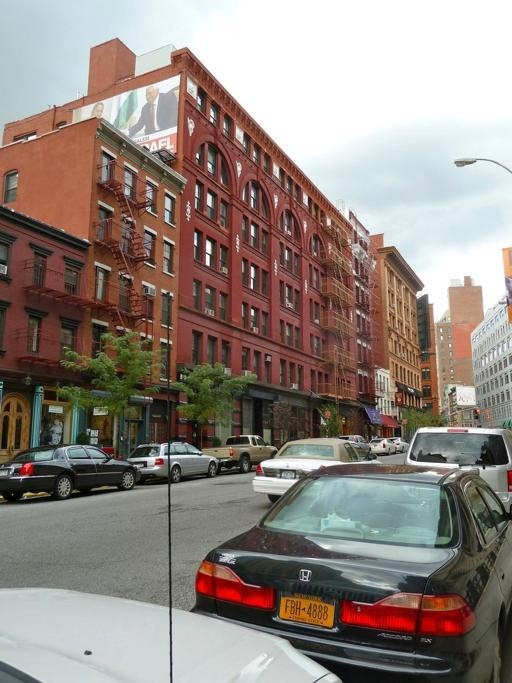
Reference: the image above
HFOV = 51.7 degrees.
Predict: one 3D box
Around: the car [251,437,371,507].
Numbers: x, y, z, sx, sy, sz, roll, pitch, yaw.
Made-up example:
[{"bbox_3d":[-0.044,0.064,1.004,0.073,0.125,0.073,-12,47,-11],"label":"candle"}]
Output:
[{"bbox_3d":[1.553,2.966,12.690,1.671,1.173,3.629,-7,-13,23],"label":"car"}]
